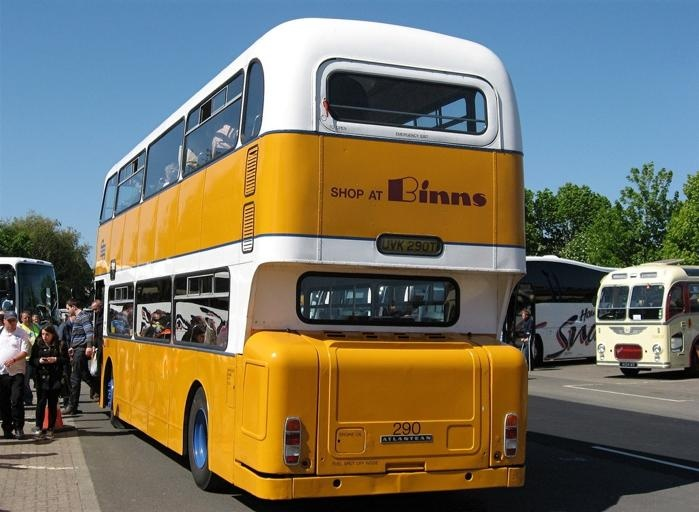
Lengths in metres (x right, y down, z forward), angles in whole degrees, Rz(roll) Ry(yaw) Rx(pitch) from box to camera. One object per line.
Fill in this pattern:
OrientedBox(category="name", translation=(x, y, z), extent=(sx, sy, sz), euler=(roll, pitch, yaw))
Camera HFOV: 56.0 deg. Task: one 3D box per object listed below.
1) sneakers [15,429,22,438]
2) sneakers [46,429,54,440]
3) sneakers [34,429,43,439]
OrientedBox(category="sneakers", translation=(-6.106, 3.308, 12.197), extent=(0.147, 0.159, 0.355), euler=(3, -5, -30))
OrientedBox(category="sneakers", translation=(-5.641, 3.392, 12.407), extent=(0.142, 0.174, 0.278), euler=(6, -1, -15))
OrientedBox(category="sneakers", translation=(-5.704, 3.283, 12.077), extent=(0.089, 0.224, 0.289), euler=(1, -2, -19))
